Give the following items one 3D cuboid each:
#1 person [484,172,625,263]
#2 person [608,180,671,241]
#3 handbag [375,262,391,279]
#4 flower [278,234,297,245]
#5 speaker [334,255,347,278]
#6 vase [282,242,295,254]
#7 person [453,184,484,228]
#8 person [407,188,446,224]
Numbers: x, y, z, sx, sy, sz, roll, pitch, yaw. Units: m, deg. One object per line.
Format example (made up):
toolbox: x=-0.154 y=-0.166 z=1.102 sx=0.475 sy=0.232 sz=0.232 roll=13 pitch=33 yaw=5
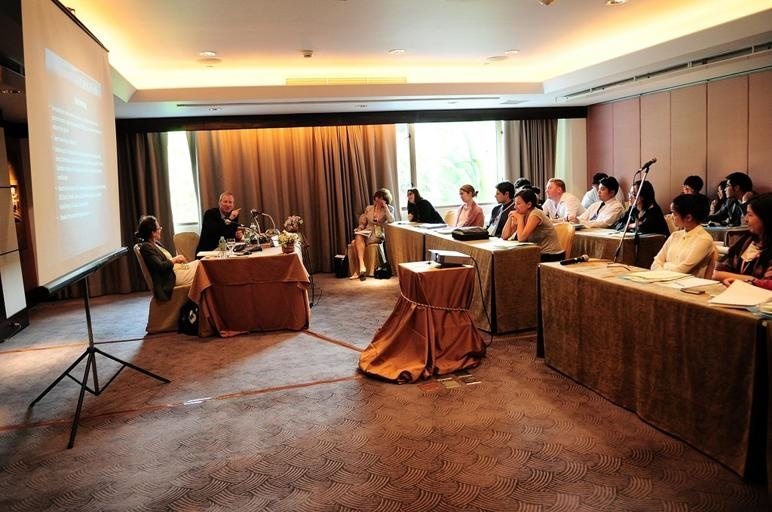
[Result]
person: x=2.202 y=-0.522 z=6.265 sx=1.749 sy=0.674 sz=1.248 roll=0 pitch=-1 yaw=-36
person: x=3.422 y=-0.614 z=6.444 sx=0.605 sy=0.724 sz=0.618 roll=-7 pitch=11 yaw=-23
handbag: x=-0.040 y=0.266 z=8.490 sx=0.310 sy=0.300 sz=0.225 roll=4 pitch=-2 yaw=-6
flower: x=-1.188 y=-0.207 z=5.840 sx=0.150 sy=0.092 sz=0.152 roll=0 pitch=1 yaw=-4
speaker: x=-0.857 y=0.192 z=8.984 sx=0.318 sy=0.385 sz=0.241 roll=-1 pitch=10 yaw=16
vase: x=-1.195 y=-0.102 z=5.799 sx=0.130 sy=0.092 sz=0.125 roll=0 pitch=-4 yaw=-1
person: x=1.351 y=-0.810 z=7.657 sx=0.405 sy=0.640 sz=0.809 roll=-2 pitch=10 yaw=11
person: x=0.675 y=-0.885 z=8.415 sx=0.404 sy=0.578 sz=0.731 roll=-8 pitch=11 yaw=-24
